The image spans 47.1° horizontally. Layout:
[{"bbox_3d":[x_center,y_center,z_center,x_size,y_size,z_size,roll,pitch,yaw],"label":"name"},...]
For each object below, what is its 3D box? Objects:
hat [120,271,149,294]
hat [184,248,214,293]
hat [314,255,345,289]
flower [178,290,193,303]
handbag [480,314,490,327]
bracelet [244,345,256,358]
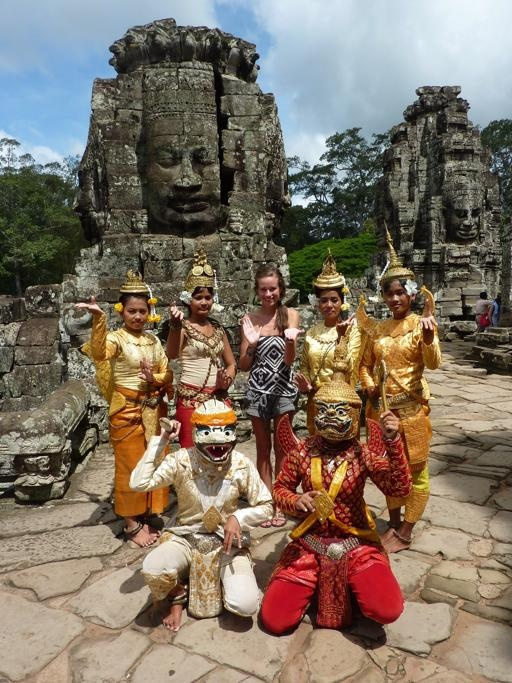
[{"bbox_3d":[-0.703,-0.336,3.407,0.163,0.120,0.153,0,0,-5],"label":"hat"},{"bbox_3d":[-0.333,-0.418,3.465,0.167,0.253,0.283,-1,7,-7],"label":"hat"},{"bbox_3d":[0.429,-0.408,3.484,0.236,0.209,0.209,-1,6,0],"label":"hat"},{"bbox_3d":[-0.415,-0.260,3.452,0.057,0.088,0.182,-2,7,-14],"label":"flower"},{"bbox_3d":[5.005,-0.458,12.778,0.137,0.262,0.205,5,48,-11],"label":"handbag"},{"bbox_3d":[-0.047,0.065,3.545,0.065,0.055,0.015,11,20,11],"label":"bracelet"}]
